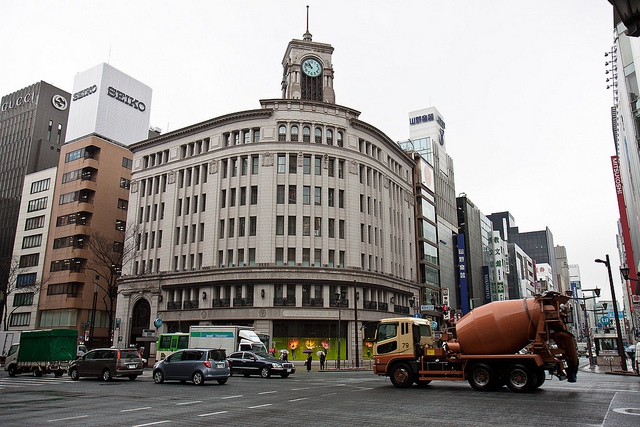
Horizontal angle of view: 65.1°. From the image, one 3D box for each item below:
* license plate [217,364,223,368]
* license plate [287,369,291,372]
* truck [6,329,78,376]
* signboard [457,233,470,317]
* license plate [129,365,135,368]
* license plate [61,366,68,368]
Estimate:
[{"bbox_3d":[-6.871,10.502,34.488,0.400,0.211,0.049,14,-27,-40],"label":"license plate"},{"bbox_3d":[-2.478,12.591,40.153,0.276,0.257,0.064,-1,-5,-13],"label":"license plate"},{"bbox_3d":[-23.305,11.603,41.923,7.139,3.741,3.417,-6,-24,18],"label":"truck"},{"bbox_3d":[25.668,10.954,89.477,1.451,14.572,1.461,-6,4,-31],"label":"signboard"},{"bbox_3d":[-13.772,11.192,36.664,0.328,0.186,0.043,-1,-16,-4],"label":"license plate"},{"bbox_3d":[-20.729,12.425,40.554,0.300,0.070,0.300,1,-7,13],"label":"license plate"}]
